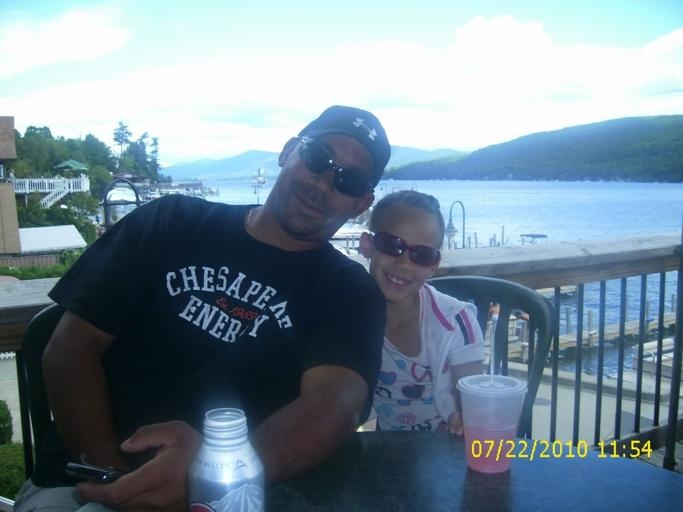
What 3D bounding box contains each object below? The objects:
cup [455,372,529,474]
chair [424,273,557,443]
[{"bbox_3d":[0.530,0.642,2.420,0.339,0.372,0.337,3,-3,0],"label":"cup"},{"bbox_3d":[0.880,0.463,3.197,0.725,0.973,0.720,4,4,28],"label":"chair"}]
